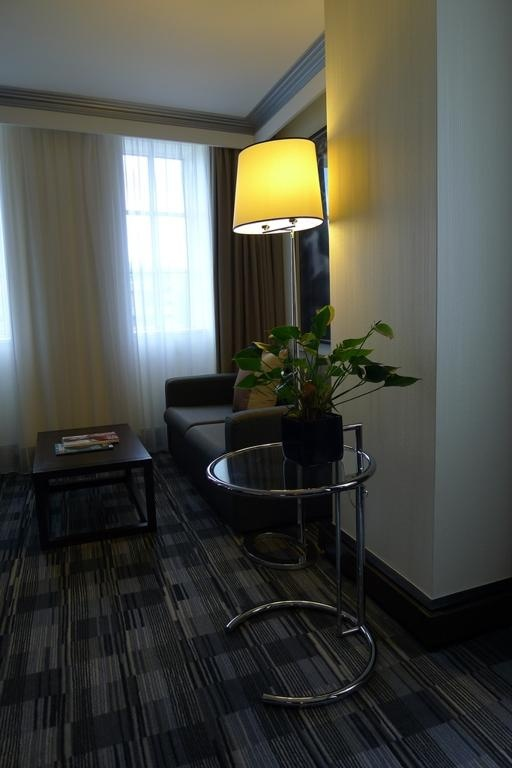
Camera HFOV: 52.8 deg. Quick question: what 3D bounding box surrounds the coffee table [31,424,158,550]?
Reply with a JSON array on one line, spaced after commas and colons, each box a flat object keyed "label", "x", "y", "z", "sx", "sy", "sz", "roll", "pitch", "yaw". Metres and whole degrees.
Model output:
[{"label": "coffee table", "x": -0.942, "y": 0.519, "z": 2.947, "sx": 0.562, "sy": 0.444, "sz": 0.871, "roll": -4, "pitch": 11, "yaw": -20}]

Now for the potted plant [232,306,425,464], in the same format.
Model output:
[{"label": "potted plant", "x": 0.221, "y": 0.020, "z": 1.496, "sx": 0.513, "sy": 0.454, "sz": 0.479, "roll": 5, "pitch": -5, "yaw": -18}]

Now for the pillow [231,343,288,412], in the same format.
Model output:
[{"label": "pillow", "x": -0.032, "y": 0.021, "z": 2.989, "sx": 0.375, "sy": 0.351, "sz": 0.144, "roll": -3, "pitch": -23, "yaw": 43}]

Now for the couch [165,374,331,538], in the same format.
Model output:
[{"label": "couch", "x": -0.180, "y": 0.258, "z": 3.216, "sx": 0.481, "sy": 0.823, "sz": 1.475, "roll": -1, "pitch": 8, "yaw": -23}]

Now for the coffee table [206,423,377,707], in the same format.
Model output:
[{"label": "coffee table", "x": 0.114, "y": 0.475, "z": 1.522, "sx": 0.425, "sy": 0.690, "sz": 0.482, "roll": -2, "pitch": 7, "yaw": 5}]
